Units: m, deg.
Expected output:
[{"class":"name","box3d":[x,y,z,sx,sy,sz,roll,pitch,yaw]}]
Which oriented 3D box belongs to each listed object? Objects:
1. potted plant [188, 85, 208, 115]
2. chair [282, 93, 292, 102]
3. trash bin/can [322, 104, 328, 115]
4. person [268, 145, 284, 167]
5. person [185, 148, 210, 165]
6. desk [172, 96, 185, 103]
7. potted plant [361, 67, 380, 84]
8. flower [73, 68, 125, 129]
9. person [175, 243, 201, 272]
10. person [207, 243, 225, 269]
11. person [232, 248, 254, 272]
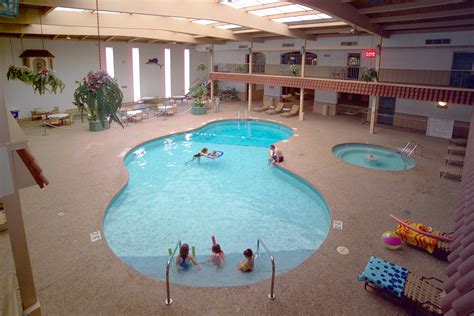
[{"class":"potted plant","box3d":[-3.429,-5.237,26.271,1.424,2.457,1.626,-3,18,-8]},{"class":"chair","box3d":[5.888,-7.014,33.785,1.488,1.038,1.058,-9,16,-38]},{"class":"trash bin/can","box3d":[8.109,-4.398,26.400,0.478,0.853,0.921,4,18,15]},{"class":"person","box3d":[2.209,-0.056,16.217,0.971,1.427,0.621,-5,25,10]},{"class":"person","box3d":[-2.302,-0.180,16.974,1.340,0.816,0.669,-3,18,-8]},{"class":"desk","box3d":[-6.381,-6.692,32.630,1.337,0.644,1.316,1,28,-1]},{"class":"potted plant","box3d":[9.411,-5.901,20.250,1.219,0.824,1.229,18,36,34]},{"class":"flower","box3d":[-4.136,-1.887,8.780,1.206,1.443,0.813,-5,18,-14]},{"class":"person","box3d":[-1.701,3.321,9.747,0.748,0.981,0.865,8,26,7]},{"class":"person","box3d":[-0.772,3.321,10.096,0.673,0.708,0.925,-2,11,-10]},{"class":"person","box3d":[0.270,3.481,9.831,0.590,0.813,0.954,-1,9,15]}]
